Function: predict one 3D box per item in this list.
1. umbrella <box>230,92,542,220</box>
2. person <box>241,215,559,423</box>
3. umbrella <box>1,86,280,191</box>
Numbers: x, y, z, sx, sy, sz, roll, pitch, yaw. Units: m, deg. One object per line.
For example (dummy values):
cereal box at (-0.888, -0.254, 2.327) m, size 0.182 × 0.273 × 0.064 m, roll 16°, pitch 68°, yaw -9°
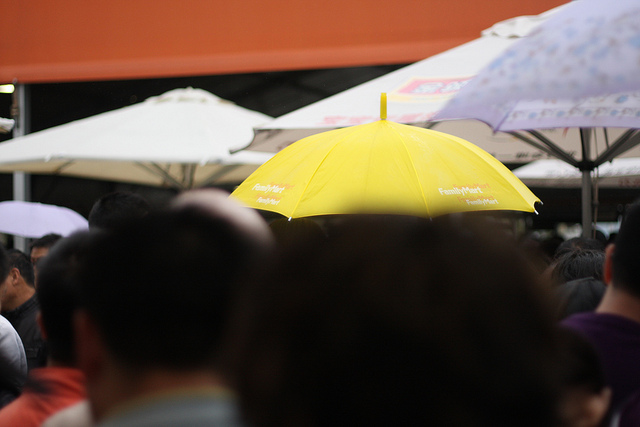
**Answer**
umbrella at (0.400, -0.264, 4.564) m, size 1.848 × 0.622 × 1.875 m, roll 2°, pitch 6°, yaw 31°
person at (0.246, 0.348, 2.389) m, size 0.750 × 0.459 × 0.778 m, roll 8°, pitch 12°, yaw 38°
umbrella at (-1.421, -0.572, 5.888) m, size 1.363 × 0.446 × 1.362 m, roll 1°, pitch 1°, yaw -8°
